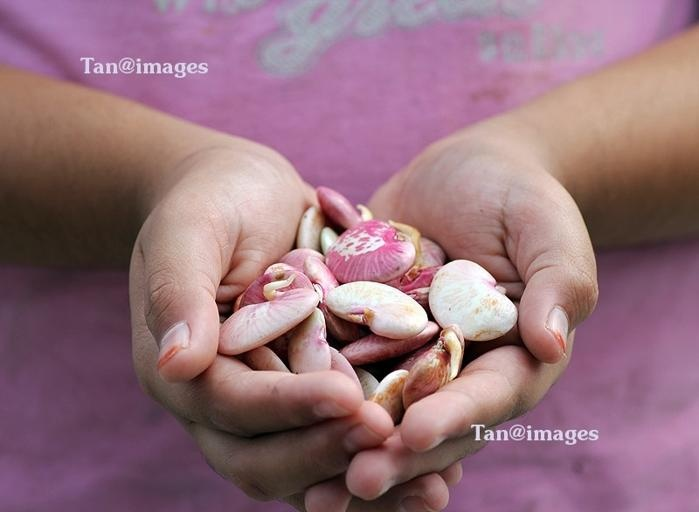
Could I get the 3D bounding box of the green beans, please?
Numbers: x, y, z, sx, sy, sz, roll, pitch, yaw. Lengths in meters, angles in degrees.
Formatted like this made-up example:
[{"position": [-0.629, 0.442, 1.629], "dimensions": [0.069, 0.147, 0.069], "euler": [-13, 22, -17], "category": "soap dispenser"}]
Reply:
[{"position": [0.055, 0.097, 1.302], "dimensions": [0.491, 0.240, 0.491], "euler": [23, 62, 14], "category": "green beans"}]
